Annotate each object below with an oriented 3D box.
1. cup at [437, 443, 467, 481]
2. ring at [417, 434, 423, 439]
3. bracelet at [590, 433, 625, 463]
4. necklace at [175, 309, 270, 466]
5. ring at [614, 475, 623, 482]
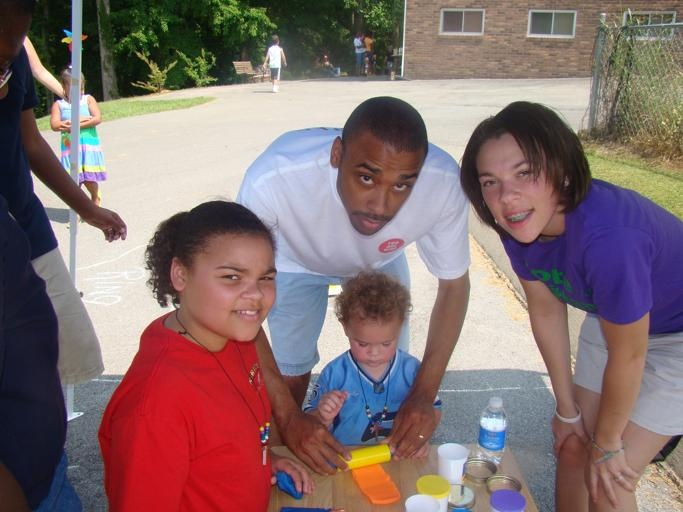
[{"bbox_3d":[0.494,0.925,2.664,0.119,0.167,0.142,0,21,3],"label":"cup"},{"bbox_3d":[0.392,0.896,2.929,0.031,0.013,0.029,1,15,0],"label":"ring"},{"bbox_3d":[1.271,0.941,2.886,0.078,0.061,0.115,14,15,-1],"label":"bracelet"},{"bbox_3d":[-0.513,0.556,2.467,0.248,0.463,0.454,-25,-19,-18],"label":"necklace"},{"bbox_3d":[1.320,1.062,2.824,0.026,0.008,0.026,-3,19,1],"label":"ring"}]
